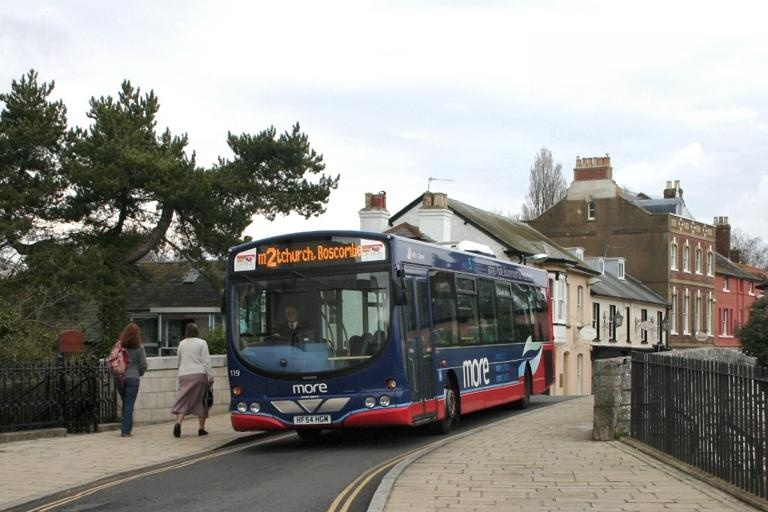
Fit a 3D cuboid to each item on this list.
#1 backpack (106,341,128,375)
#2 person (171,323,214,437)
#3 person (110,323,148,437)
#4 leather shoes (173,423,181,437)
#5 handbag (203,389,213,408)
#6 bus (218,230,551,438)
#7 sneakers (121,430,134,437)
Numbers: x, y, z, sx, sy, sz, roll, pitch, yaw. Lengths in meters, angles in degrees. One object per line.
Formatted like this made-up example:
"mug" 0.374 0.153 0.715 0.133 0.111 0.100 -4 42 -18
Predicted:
"backpack" -5.990 2.317 19.792 0.449 0.790 0.278 -5 -6 25
"person" -4.326 2.808 19.976 0.867 2.520 0.611 0 -6 -16
"person" -5.772 2.810 19.980 0.776 2.512 0.643 0 -6 -16
"leather shoes" -4.639 3.911 19.799 0.138 0.409 0.169 0 8 4
"handbag" -3.936 3.236 19.954 0.261 0.384 0.365 1 -10 0
"bus" 1.937 2.134 23.081 3.673 4.418 13.538 -6 -8 36
"sneakers" -5.793 4.027 19.960 0.101 0.133 0.312 1 -10 10
